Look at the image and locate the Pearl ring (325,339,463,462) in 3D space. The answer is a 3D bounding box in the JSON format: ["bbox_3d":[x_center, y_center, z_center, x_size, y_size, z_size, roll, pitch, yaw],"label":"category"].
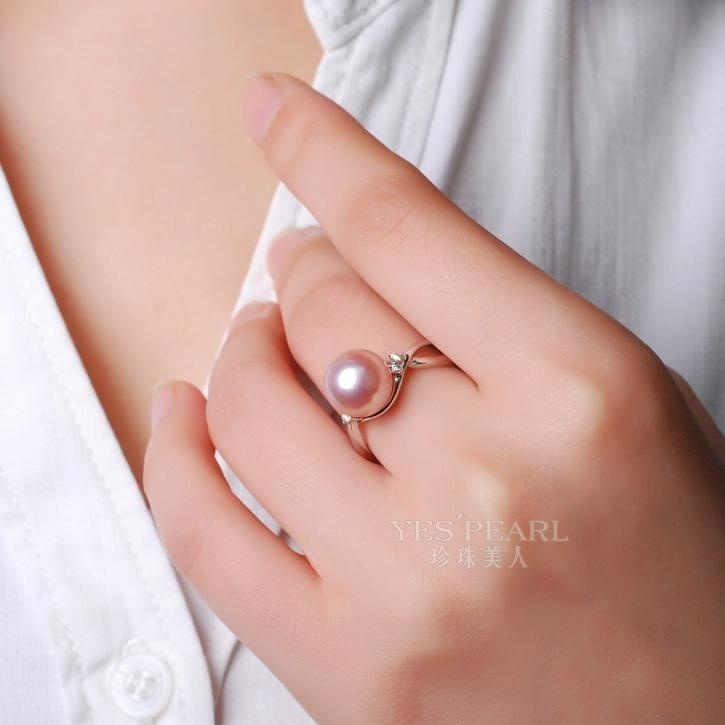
[{"bbox_3d":[0.032,0.035,0.687,0.072,0.069,0.035,12,24,-30],"label":"Pearl ring"}]

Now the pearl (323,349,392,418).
[{"bbox_3d":[-0.004,0.022,0.668,0.044,0.060,0.062,-3,83,7],"label":"pearl"}]
